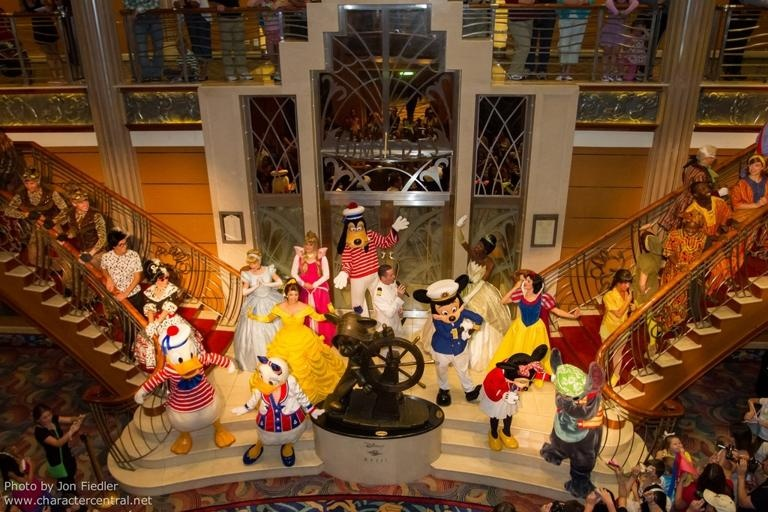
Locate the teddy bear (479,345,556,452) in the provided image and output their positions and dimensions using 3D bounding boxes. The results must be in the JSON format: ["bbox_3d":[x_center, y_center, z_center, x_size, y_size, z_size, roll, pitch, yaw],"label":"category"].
[{"bbox_3d":[1.670,1.823,6.252,0.766,1.274,0.753,-30,48,-24],"label":"teddy bear"}]

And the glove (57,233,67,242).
[{"bbox_3d":[-4.415,-0.240,6.829,0.106,0.093,0.096,-11,29,-19],"label":"glove"}]

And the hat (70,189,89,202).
[{"bbox_3d":[-4.327,-0.847,7.111,0.203,0.171,0.202,8,28,16],"label":"hat"}]

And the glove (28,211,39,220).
[{"bbox_3d":[-4.788,-0.547,6.809,0.108,0.072,0.102,2,5,6],"label":"glove"}]

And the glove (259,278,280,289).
[{"bbox_3d":[-1.596,0.388,7.060,0.201,0.060,0.146,2,32,16],"label":"glove"}]

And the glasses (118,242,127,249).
[{"bbox_3d":[-3.662,-0.137,6.997,0.092,0.088,0.028,2,-10,-22],"label":"glasses"}]

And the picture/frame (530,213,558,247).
[{"bbox_3d":[2.623,-0.389,8.143,0.417,0.526,0.044,6,3,43],"label":"picture/frame"}]

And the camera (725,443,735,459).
[{"bbox_3d":[3.736,2.114,5.414,0.087,0.138,0.057,8,-3,12],"label":"camera"}]

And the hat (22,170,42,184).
[{"bbox_3d":[-4.936,-1.098,7.006,0.219,0.187,0.204,1,10,-7],"label":"hat"}]
